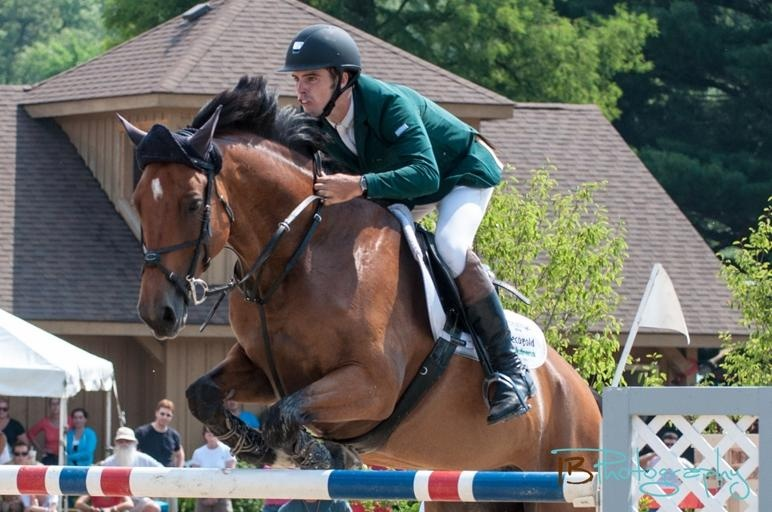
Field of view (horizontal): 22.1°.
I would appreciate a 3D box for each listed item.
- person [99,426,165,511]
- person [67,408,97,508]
[{"bbox_3d":[-4.717,4.121,37.645,1.073,1.736,1.419,3,5,44],"label":"person"},{"bbox_3d":[-6.108,3.937,39.700,0.685,2.170,0.550,-1,9,1],"label":"person"}]
